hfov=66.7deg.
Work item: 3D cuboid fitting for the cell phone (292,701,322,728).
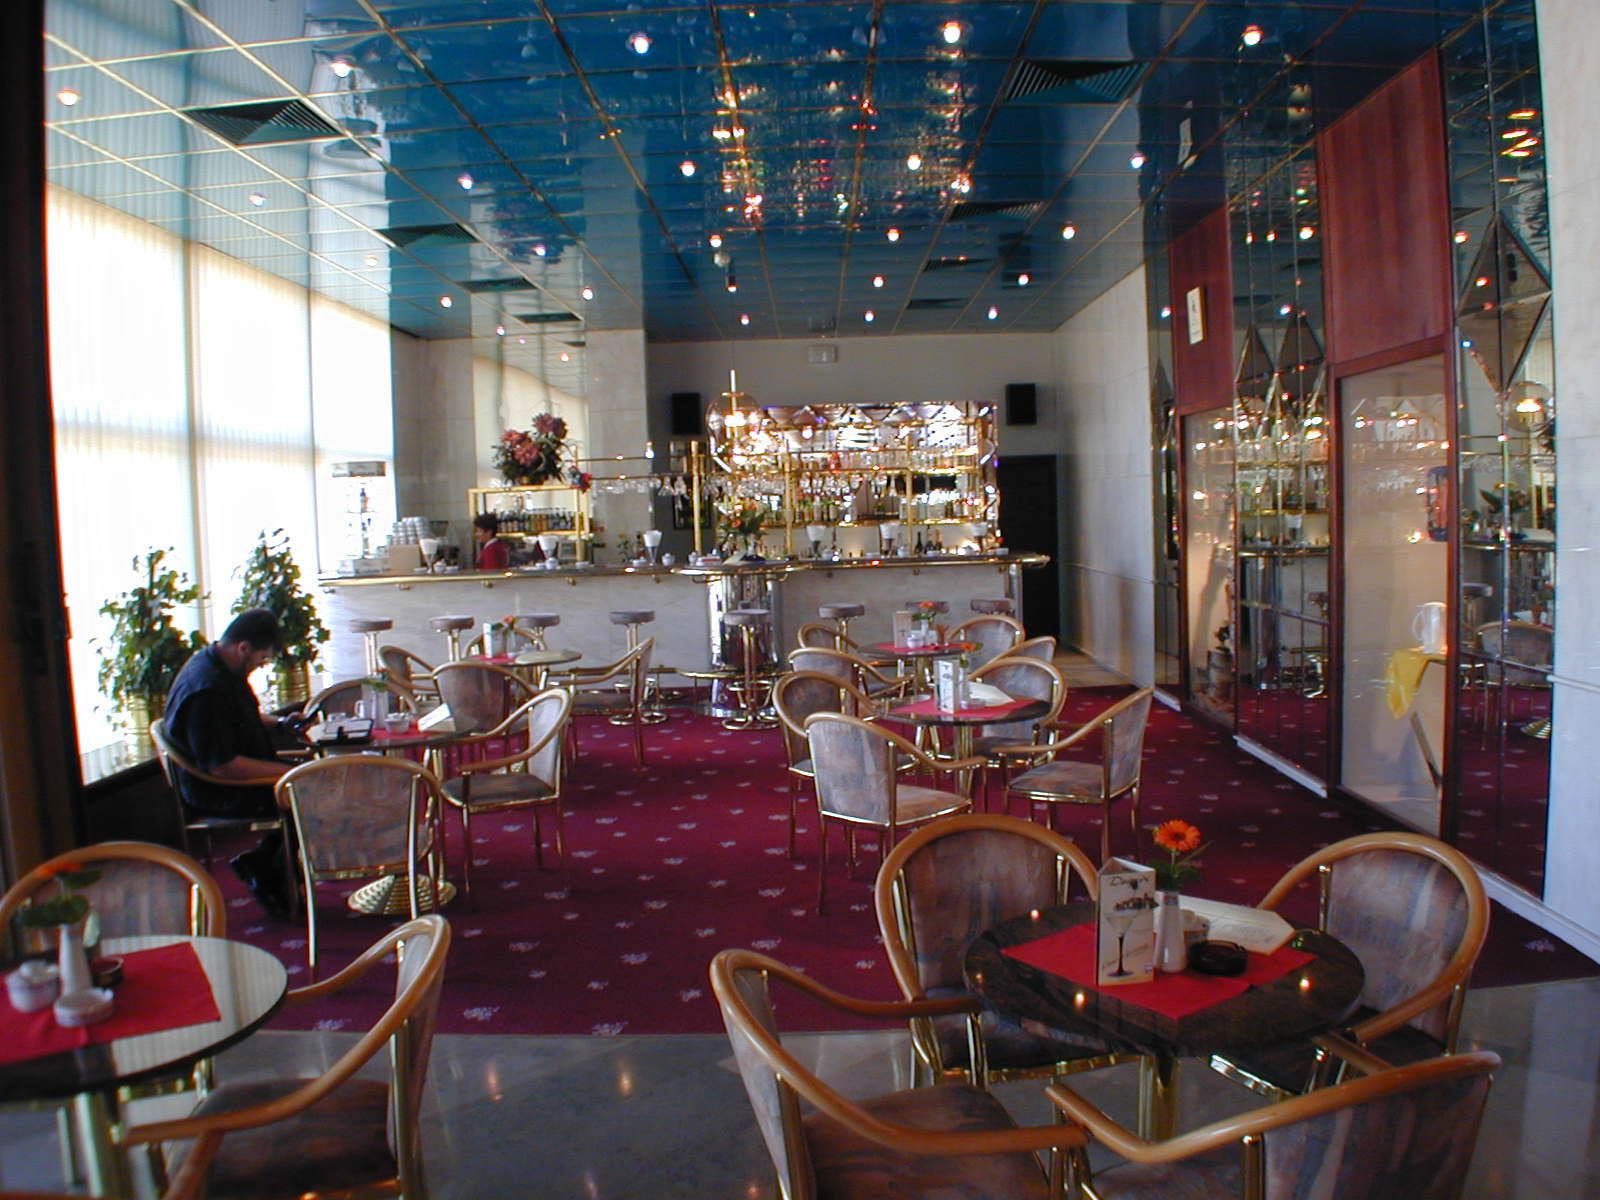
[{"bbox_3d":[-2.867,0.666,7.081,0.135,0.060,0.184,-3,5,-1],"label":"cell phone"}]

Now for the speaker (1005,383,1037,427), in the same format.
[{"bbox_3d":[2.718,-2.378,14.748,0.460,0.514,0.241,-5,11,-15],"label":"speaker"}]

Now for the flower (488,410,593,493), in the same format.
[{"bbox_3d":[-2.720,-1.504,12.456,0.848,0.595,0.840,-3,15,-4],"label":"flower"}]

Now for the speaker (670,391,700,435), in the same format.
[{"bbox_3d":[-1.394,-2.262,14.833,0.412,0.548,0.303,-3,11,-5],"label":"speaker"}]

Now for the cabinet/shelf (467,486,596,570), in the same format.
[{"bbox_3d":[-2.858,-0.693,13.159,1.281,1.040,0.679,-3,-1,-15],"label":"cabinet/shelf"}]

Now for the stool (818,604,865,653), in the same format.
[{"bbox_3d":[0.363,0.221,10.600,0.393,0.414,0.384,1,-1,3],"label":"stool"}]

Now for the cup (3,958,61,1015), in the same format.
[{"bbox_3d":[-2.191,1.090,3.464,0.140,0.102,0.138,1,-3,0],"label":"cup"}]
